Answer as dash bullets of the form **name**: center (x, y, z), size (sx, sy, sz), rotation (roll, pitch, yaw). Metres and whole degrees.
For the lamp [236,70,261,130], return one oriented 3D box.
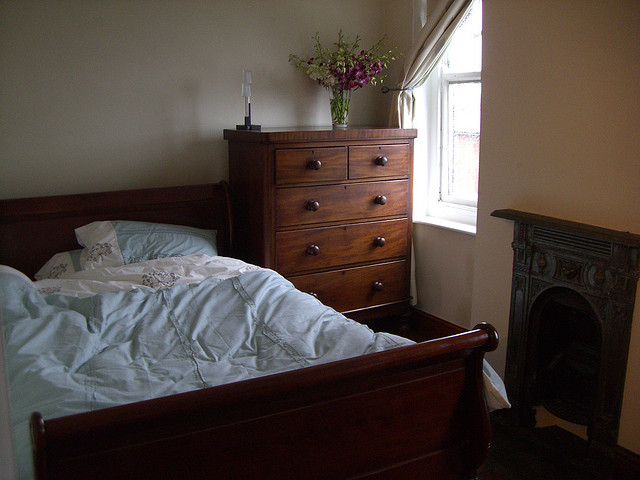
- **lamp**: center (-0.508, -0.958, 3.232), size (0.140, 0.385, 0.253), rotation (-6, 14, -16)

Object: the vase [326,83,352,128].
- **vase**: center (0.163, -1.039, 3.560), size (0.207, 0.352, 0.212), rotation (3, 8, 7)

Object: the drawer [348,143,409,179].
- **drawer**: center (0.414, -0.574, 3.389), size (0.414, 0.213, 0.267), rotation (-7, 15, -27)
